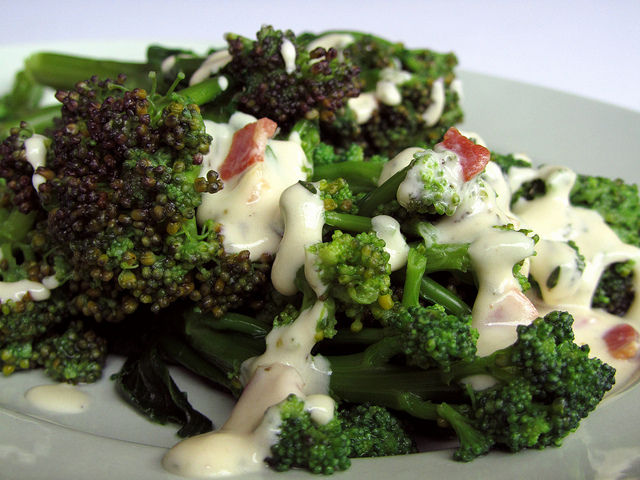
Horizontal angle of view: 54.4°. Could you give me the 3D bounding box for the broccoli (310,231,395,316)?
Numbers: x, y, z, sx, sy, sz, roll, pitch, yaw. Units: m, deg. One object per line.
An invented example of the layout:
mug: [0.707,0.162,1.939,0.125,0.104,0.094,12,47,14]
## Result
broccoli: [0.110,0.100,2.070,0.285,0.231,0.148,20,-5,12]

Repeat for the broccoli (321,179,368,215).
broccoli: [0.078,-0.170,2.196,0.111,0.065,0.147,32,2,-34]

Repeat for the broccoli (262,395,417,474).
broccoli: [0.063,0.608,1.957,0.310,0.132,0.306,-19,47,-28]

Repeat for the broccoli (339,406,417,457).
broccoli: [0.189,0.635,2.065,0.209,0.096,0.161,7,36,-24]

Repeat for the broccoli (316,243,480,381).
broccoli: [0.326,0.241,2.083,0.545,0.341,0.250,-8,35,30]

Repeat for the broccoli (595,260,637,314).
broccoli: [1.267,0.209,2.660,0.177,0.234,0.073,12,-6,16]

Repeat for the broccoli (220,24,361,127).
broccoli: [-0.084,-0.725,2.600,0.492,0.198,0.418,16,-16,-21]

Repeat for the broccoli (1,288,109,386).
broccoli: [-1.048,0.428,2.492,0.321,0.143,0.392,-36,74,-23]
